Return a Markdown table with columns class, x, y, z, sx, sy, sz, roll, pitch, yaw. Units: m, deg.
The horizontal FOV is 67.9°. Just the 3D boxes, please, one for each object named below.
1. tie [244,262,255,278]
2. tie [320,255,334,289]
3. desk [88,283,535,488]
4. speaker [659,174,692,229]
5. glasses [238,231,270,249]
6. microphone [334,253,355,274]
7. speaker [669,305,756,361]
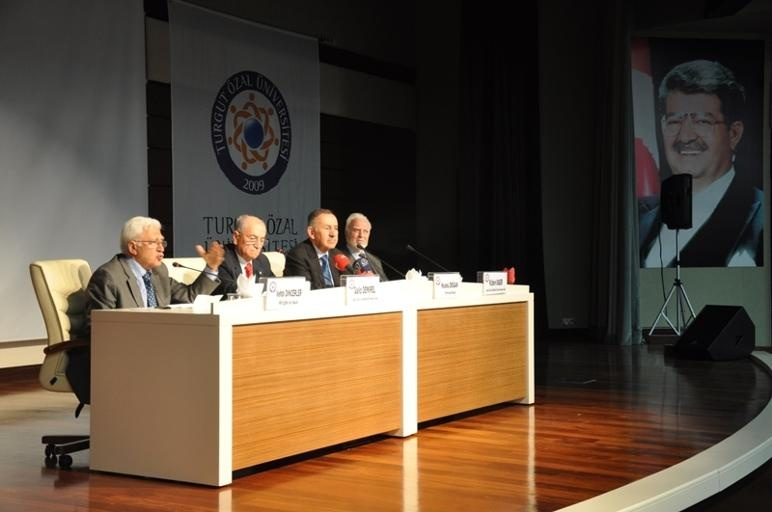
| class | x | y | z | sx | sy | sz | roll | pitch | yaw |
| --- | --- | --- | --- | --- | --- | --- | --- | --- | --- |
| tie | -0.820 | 0.089 | 3.417 | 0.021 | 0.086 | 0.079 | -8 | -11 | 17 |
| tie | -0.470 | 0.128 | 4.502 | 0.053 | 0.242 | 0.127 | -2 | 4 | 40 |
| desk | -0.090 | 0.694 | 4.119 | 2.884 | 0.986 | 0.808 | 2 | -5 | -44 |
| speaker | 3.687 | -0.672 | 7.296 | 0.336 | 0.720 | 0.223 | 0 | 1 | 25 |
| glasses | -0.944 | -0.093 | 4.054 | 0.185 | 0.105 | 0.109 | 0 | 0 | -29 |
| microphone | -0.291 | 0.056 | 4.007 | 0.059 | 0.071 | 0.262 | -30 | 28 | -15 |
| speaker | 3.701 | 0.889 | 6.542 | 0.657 | 0.635 | 0.658 | 3 | -6 | -20 |
